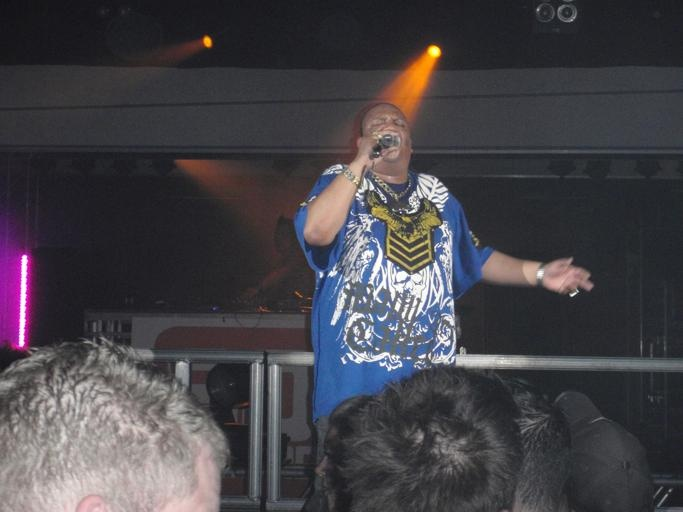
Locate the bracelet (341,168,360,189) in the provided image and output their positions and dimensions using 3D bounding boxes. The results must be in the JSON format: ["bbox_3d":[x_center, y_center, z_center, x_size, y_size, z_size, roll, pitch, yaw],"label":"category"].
[{"bbox_3d":[0.098,-0.735,13.536,0.179,0.205,0.096,1,2,21],"label":"bracelet"}]

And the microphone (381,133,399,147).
[{"bbox_3d":[0.477,-1.097,13.595,0.133,0.140,0.046,1,-1,-12],"label":"microphone"}]

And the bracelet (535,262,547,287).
[{"bbox_3d":[1.941,0.197,13.870,0.164,0.182,0.185,6,-40,12],"label":"bracelet"}]
